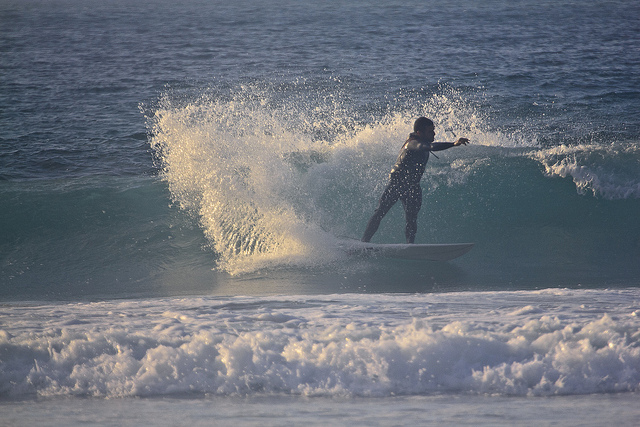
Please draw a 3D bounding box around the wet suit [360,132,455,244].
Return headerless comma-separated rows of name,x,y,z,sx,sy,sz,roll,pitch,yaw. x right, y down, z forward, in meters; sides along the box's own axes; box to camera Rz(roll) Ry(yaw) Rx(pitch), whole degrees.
wet suit,2.262,-0.572,30.361,1.348,2.731,1.501,24,38,33
